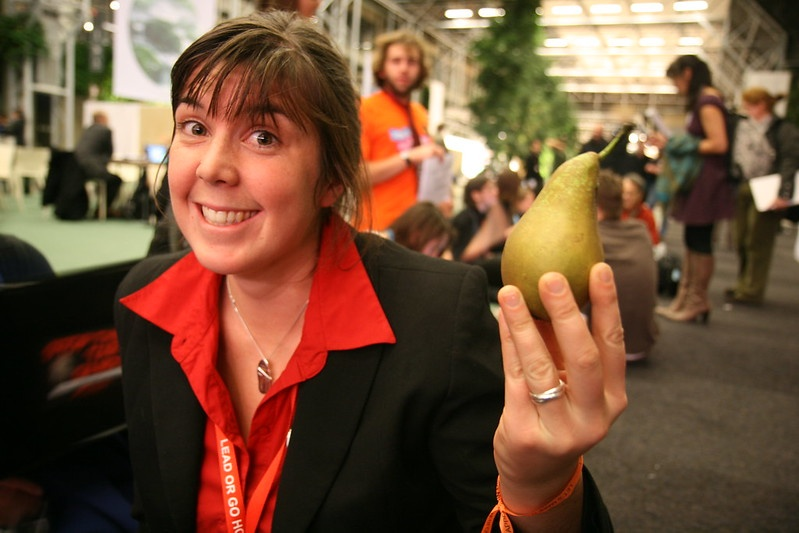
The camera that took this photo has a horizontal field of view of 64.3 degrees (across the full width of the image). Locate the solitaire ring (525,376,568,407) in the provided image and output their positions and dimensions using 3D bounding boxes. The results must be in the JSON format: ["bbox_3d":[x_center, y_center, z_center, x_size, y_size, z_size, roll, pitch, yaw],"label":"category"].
[{"bbox_3d":[0.283,0.229,1.183,0.048,0.015,0.049,-16,12,3],"label":"solitaire ring"}]

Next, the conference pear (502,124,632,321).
[{"bbox_3d":[0.284,-0.046,1.161,0.160,0.274,0.088,4,11,6],"label":"conference pear"}]

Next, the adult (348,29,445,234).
[{"bbox_3d":[0.042,-0.403,3.299,0.440,1.375,0.422,14,30,31],"label":"adult"}]

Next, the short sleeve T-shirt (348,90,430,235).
[{"bbox_3d":[-0.029,-0.456,3.295,0.552,0.771,0.254,-15,31,-43],"label":"short sleeve T-shirt"}]
